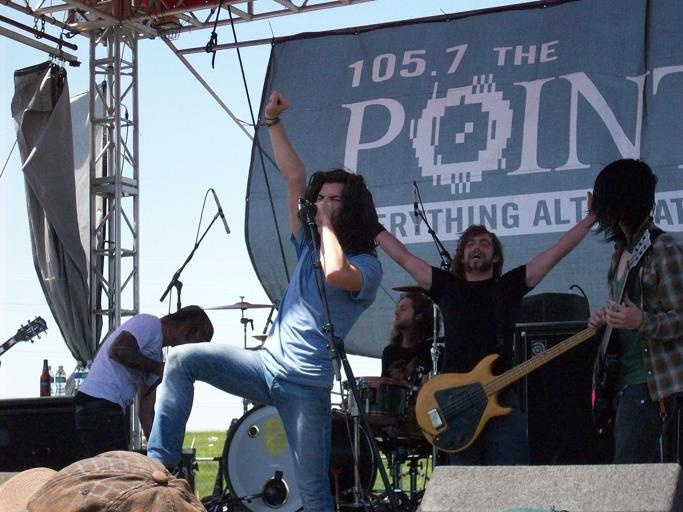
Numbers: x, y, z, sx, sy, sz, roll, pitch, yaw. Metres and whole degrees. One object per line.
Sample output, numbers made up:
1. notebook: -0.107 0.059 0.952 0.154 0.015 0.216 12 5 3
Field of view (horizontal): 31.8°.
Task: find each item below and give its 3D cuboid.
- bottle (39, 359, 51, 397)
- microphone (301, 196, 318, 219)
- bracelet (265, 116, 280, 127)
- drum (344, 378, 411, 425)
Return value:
1. bottle: -2.758 1.146 11.236 0.098 0.339 0.516 -1 -1 -14
2. microphone: -0.209 -0.303 7.862 0.107 0.124 0.087 -29 -10 -15
3. bracelet: -0.455 -0.895 8.033 0.076 0.047 0.062 -12 3 6
4. drum: 0.328 1.175 9.798 0.482 0.344 0.496 3 -25 1
